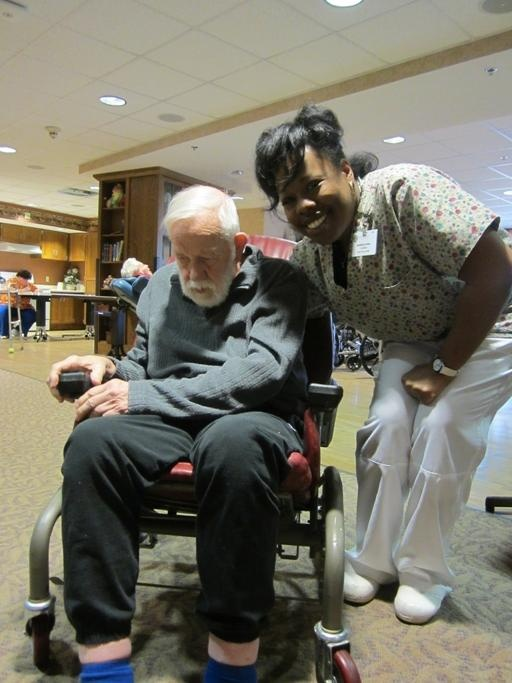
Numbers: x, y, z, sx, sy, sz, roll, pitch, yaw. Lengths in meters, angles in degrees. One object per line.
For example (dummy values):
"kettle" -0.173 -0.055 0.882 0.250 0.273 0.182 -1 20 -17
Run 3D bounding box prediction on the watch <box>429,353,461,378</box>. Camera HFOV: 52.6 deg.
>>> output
"watch" 0.434 0.055 1.222 0.065 0.034 0.063 12 6 -7

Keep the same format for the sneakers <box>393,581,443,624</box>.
"sneakers" 0.356 0.580 1.143 0.050 0.052 0.140 -5 -19 28

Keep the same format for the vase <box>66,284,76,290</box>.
"vase" -4.084 -1.206 11.503 0.140 0.091 0.133 0 -3 13
